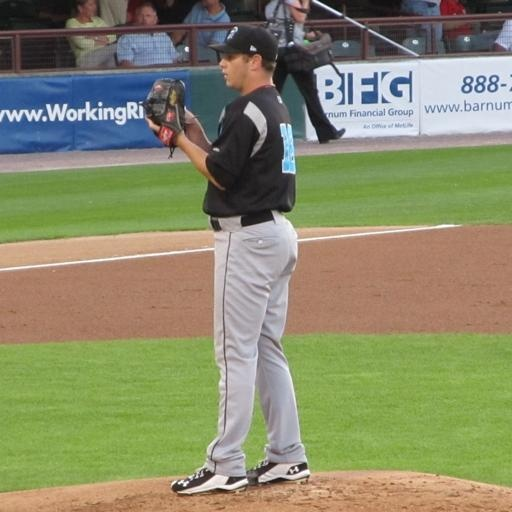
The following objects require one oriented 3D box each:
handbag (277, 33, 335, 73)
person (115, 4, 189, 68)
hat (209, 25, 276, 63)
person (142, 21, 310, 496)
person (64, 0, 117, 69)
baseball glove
[{"bbox_3d":[0.665,-2.629,18.862,0.511,0.298,0.572,-13,8,-24],"label":"handbag"},{"bbox_3d":[-1.492,-3.130,20.642,1.134,1.066,0.633,-6,11,-19],"label":"person"},{"bbox_3d":[-0.062,-1.376,9.365,0.350,0.187,0.223,1,11,-5],"label":"hat"},{"bbox_3d":[-0.079,0.009,9.396,0.756,2.984,0.589,-3,10,-12],"label":"person"},{"bbox_3d":[-2.368,-3.161,20.473,0.657,0.961,1.073,-2,9,-9],"label":"person"},{"bbox_3d":[-0.591,-0.942,9.540,0.177,0.448,0.279,3,-10,-22],"label":"baseball glove"}]
